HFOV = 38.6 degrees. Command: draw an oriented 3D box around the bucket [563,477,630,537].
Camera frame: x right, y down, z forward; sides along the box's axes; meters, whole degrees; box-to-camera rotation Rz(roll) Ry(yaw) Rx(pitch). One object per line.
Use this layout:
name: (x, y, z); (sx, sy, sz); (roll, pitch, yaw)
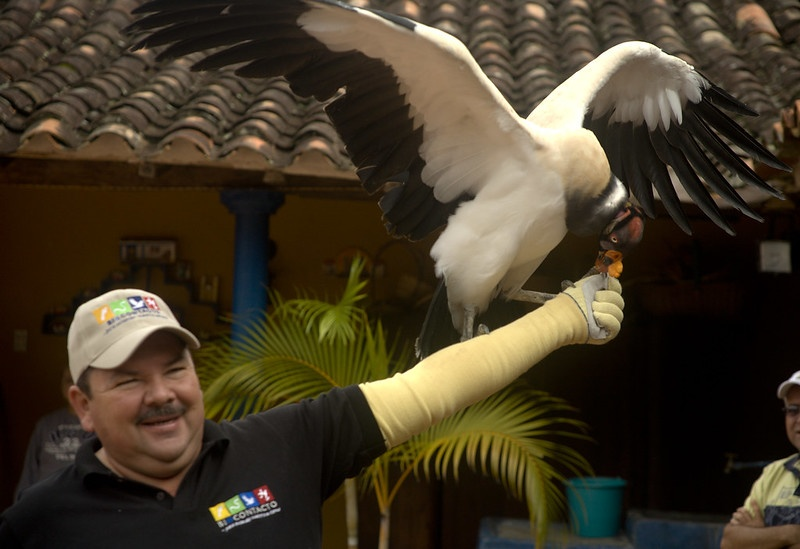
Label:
bucket: (1.579, 1.795, 9.018); (0.547, 0.378, 0.569); (-1, -5, 0)

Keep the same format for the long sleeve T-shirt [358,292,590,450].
long sleeve T-shirt: (0.370, 0.498, 6.025); (1.486, 0.438, 0.491); (-25, 9, 0)

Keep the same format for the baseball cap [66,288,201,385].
baseball cap: (-1.330, 0.298, 5.724); (0.604, 0.467, 0.275); (-2, -5, 17)

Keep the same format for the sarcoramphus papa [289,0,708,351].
sarcoramphus papa: (0.280, -0.639, 6.638); (2.433, 1.762, 1.701); (1, -8, -41)
